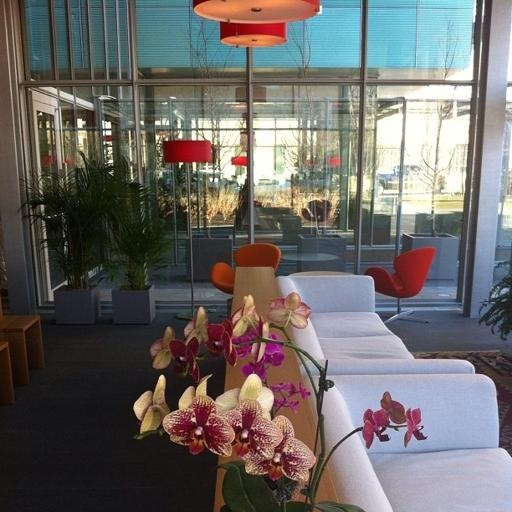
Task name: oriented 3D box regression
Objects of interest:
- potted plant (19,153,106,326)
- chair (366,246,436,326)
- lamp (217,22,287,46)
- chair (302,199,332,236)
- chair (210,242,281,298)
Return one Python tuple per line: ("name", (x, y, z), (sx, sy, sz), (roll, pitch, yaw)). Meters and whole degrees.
("potted plant", (-2.400, -0.252, 5.740), (0.900, 2.083, 1.166), (-9, 14, -37))
("chair", (1.746, 0.284, 5.218), (0.806, 0.922, 0.856), (5, 6, 34))
("lamp", (-0.026, -1.782, 3.525), (0.525, 0.196, 0.394), (0, 10, -1))
("chair", (0.841, -0.569, 6.208), (0.392, 0.439, 0.191), (1, 8, 2))
("chair", (-0.236, 0.106, 5.479), (0.781, 0.577, 0.752), (21, 22, 20))
